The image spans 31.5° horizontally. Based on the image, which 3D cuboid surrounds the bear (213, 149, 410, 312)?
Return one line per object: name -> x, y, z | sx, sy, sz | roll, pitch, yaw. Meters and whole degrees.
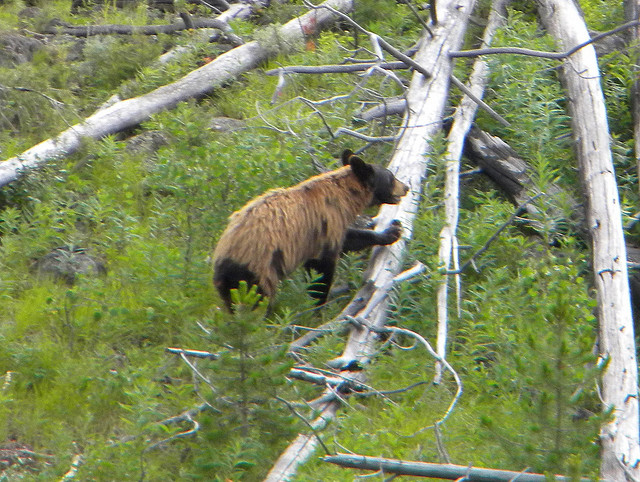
bear -> -0.130, -0.054, 12.571 | 2.286, 1.422, 0.708 | -19, 44, -25
